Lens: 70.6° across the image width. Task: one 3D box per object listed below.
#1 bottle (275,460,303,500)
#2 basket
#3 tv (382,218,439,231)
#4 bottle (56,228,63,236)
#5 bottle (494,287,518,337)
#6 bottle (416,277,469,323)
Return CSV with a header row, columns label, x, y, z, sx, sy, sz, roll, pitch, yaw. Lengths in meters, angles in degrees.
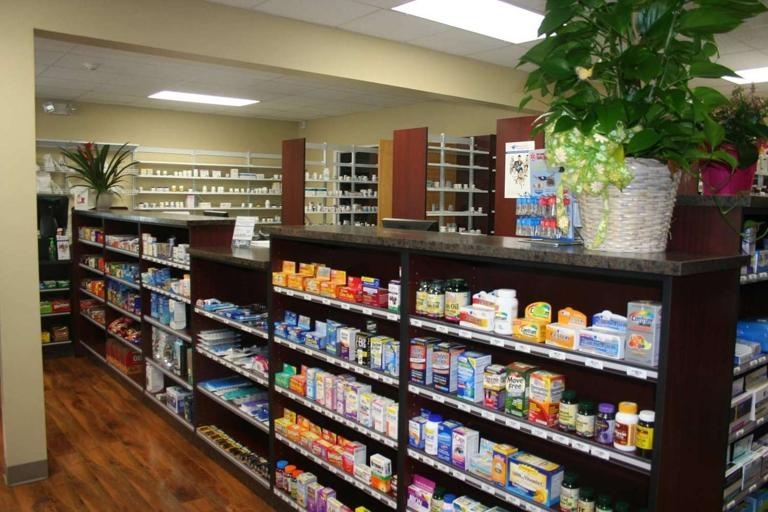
label,x,y,z,sx,sy,sz,roll,pitch,yaw
bottle,-0.723,1.646,4.033,0.161,0.224,0.267,2,7,-31
basket,1.152,-0.248,2.681,0.460,0.335,0.480,-4,8,-41
tv,0.199,-0.244,4.335,0.511,0.079,0.115,5,27,36
bottle,-4.388,-0.325,7.323,0.108,0.094,0.052,3,7,2
bottle,0.655,0.290,2.923,0.116,0.222,0.187,2,11,9
bottle,0.330,0.257,3.163,0.333,0.271,0.177,5,6,31
